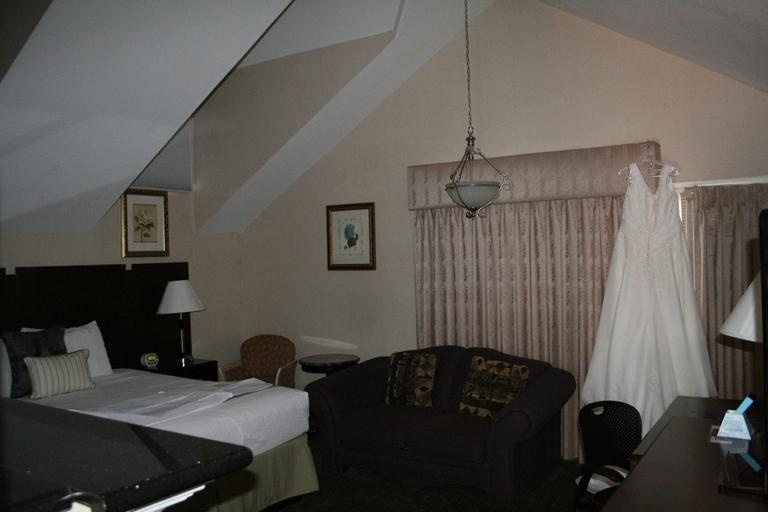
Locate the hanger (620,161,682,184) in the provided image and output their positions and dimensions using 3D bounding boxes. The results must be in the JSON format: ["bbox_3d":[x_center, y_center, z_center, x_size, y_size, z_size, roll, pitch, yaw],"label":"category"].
[{"bbox_3d":[2.153,-0.703,4.526,0.320,0.112,0.225,2,4,37],"label":"hanger"}]

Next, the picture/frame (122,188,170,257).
[{"bbox_3d":[-2.450,-0.351,5.630,0.063,0.852,0.665,1,2,33],"label":"picture/frame"}]

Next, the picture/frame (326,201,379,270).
[{"bbox_3d":[-0.317,-0.226,5.958,0.690,0.837,0.062,1,4,27],"label":"picture/frame"}]

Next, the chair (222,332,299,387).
[{"bbox_3d":[-1.331,1.161,6.250,0.590,0.795,0.635,0,-6,5],"label":"chair"}]
